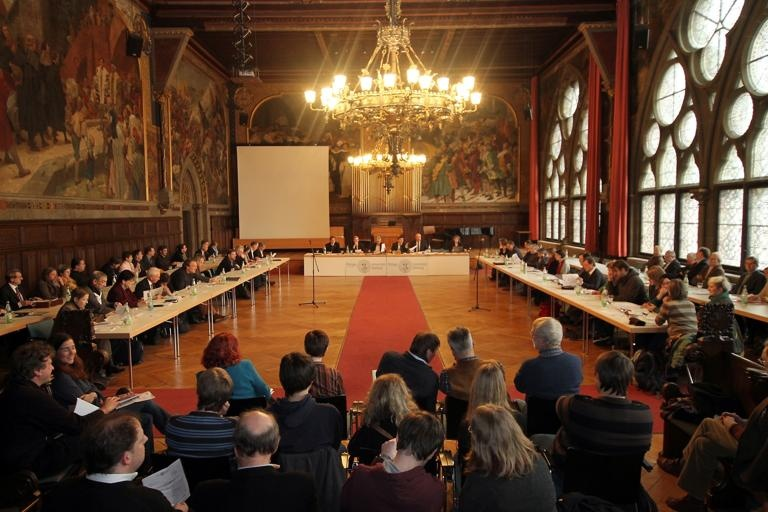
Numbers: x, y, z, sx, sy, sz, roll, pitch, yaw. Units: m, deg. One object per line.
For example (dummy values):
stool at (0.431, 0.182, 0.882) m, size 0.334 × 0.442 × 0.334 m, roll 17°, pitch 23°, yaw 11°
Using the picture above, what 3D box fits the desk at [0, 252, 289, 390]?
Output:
desk at (-3.585, 1.059, 10.701) m, size 0.913 × 1.103 × 6.259 m, roll 1°, pitch 6°, yaw 4°

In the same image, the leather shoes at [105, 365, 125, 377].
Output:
leather shoes at (-4.140, 1.763, 8.636) m, size 0.260 × 0.198 × 0.108 m, roll 1°, pitch 0°, yaw -10°

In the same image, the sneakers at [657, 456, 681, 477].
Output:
sneakers at (3.048, 2.237, 5.993) m, size 0.087 × 0.171 × 0.236 m, roll -3°, pitch 7°, yaw -37°

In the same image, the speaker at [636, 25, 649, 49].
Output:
speaker at (5.916, -5.034, 12.829) m, size 0.350 × 0.495 × 0.103 m, roll 1°, pitch 6°, yaw -3°
